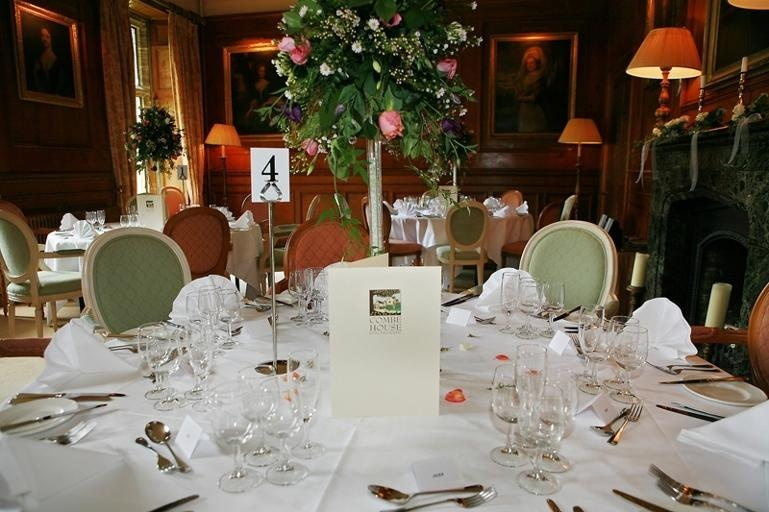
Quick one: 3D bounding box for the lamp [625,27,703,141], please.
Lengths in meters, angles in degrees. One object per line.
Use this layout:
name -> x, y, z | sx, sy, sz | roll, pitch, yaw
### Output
lamp -> 2.209, -1.374, 4.121 | 0.512, 0.702, 0.519 | -6, 18, -31

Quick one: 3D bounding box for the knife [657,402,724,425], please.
knife -> 0.977, 0.501, 1.679 | 0.222, 0.018, 0.062 | 5, 37, 16

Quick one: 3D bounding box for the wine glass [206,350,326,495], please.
wine glass -> -0.318, 0.441, 1.548 | 0.314, 0.368, 0.275 | -2, 6, -33

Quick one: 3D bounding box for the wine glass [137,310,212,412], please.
wine glass -> -0.735, 0.350, 1.807 | 0.255, 0.292, 0.252 | 0, 0, -34

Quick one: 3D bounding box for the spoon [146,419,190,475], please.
spoon -> -0.660, 0.549, 1.585 | 0.068, 0.046, 0.317 | -11, 10, -25

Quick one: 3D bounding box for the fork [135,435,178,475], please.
fork -> -0.650, 0.572, 1.506 | 0.053, 0.034, 0.287 | -13, 13, -34

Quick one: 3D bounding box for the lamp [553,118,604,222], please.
lamp -> 2.702, -1.127, 7.339 | 0.550, 1.406, 0.572 | 0, 3, -42

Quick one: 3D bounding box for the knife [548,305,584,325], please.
knife -> 0.787, 0.259, 2.289 | 0.037, 0.035, 0.263 | -3, 7, 44
